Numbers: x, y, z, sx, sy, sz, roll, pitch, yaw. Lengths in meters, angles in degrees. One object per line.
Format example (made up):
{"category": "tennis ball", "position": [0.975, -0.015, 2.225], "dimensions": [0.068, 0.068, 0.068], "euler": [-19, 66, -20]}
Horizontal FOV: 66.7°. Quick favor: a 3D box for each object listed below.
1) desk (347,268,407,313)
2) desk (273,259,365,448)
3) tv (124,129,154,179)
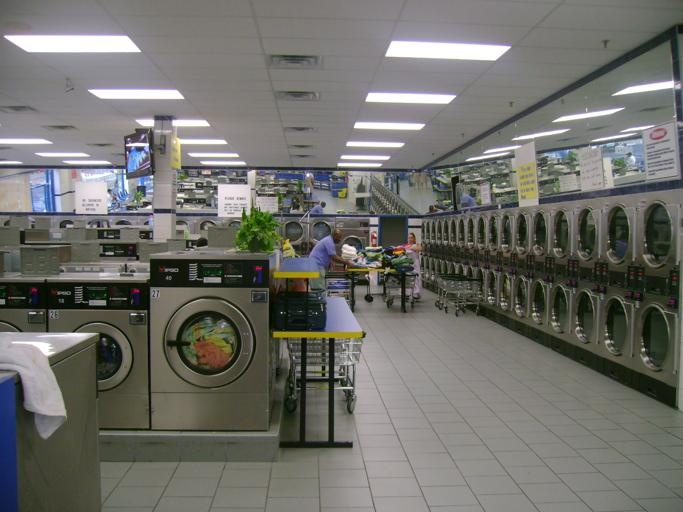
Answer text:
{"category": "desk", "position": [0.738, 0.647, 10.594], "dimensions": [0.943, 0.617, 0.969], "euler": [0, 0, 0]}
{"category": "desk", "position": [-0.256, 0.865, 5.911], "dimensions": [0.833, 1.582, 2.413], "euler": [1, 4, -4]}
{"category": "tv", "position": [-3.681, -1.881, 9.482], "dimensions": [0.745, 0.901, 0.303], "euler": [9, 13, 39]}
